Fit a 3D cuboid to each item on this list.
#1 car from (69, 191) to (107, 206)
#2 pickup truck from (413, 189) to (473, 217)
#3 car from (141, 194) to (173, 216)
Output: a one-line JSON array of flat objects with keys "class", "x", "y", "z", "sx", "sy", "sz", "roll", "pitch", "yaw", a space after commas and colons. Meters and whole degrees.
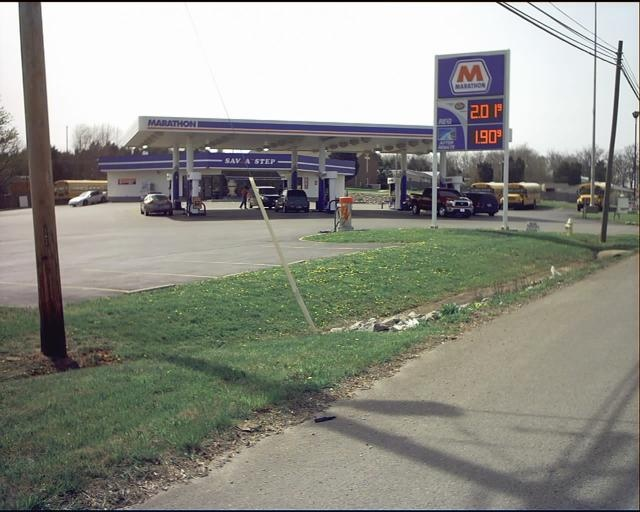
[{"class": "car", "x": -26.768, "y": -6.632, "z": 67.468, "sx": 1.797, "sy": 1.378, "sz": 4.327, "roll": -1, "pitch": 4, "yaw": 25}, {"class": "pickup truck", "x": 9.120, "y": -4.000, "z": 43.973, "sx": 1.956, "sy": 1.706, "sz": 4.439, "roll": -1, "pitch": 4, "yaw": -21}, {"class": "car", "x": -13.023, "y": -4.116, "z": 46.667, "sx": 1.402, "sy": 1.226, "sz": 3.213, "roll": -1, "pitch": 9, "yaw": -12}]
